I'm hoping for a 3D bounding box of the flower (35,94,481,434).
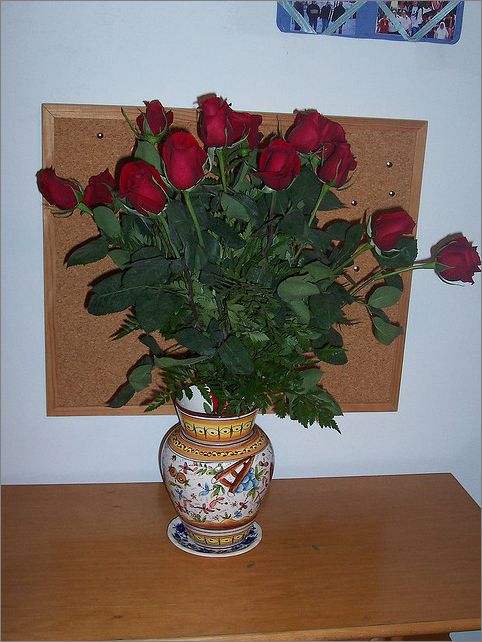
[{"bbox_3d":[0.048,-0.030,0.990,0.685,0.525,0.519,-3,8,-6],"label":"flower"}]

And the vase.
[{"bbox_3d":[-0.021,0.239,0.926,0.183,0.180,0.227,17,52,-28],"label":"vase"}]
